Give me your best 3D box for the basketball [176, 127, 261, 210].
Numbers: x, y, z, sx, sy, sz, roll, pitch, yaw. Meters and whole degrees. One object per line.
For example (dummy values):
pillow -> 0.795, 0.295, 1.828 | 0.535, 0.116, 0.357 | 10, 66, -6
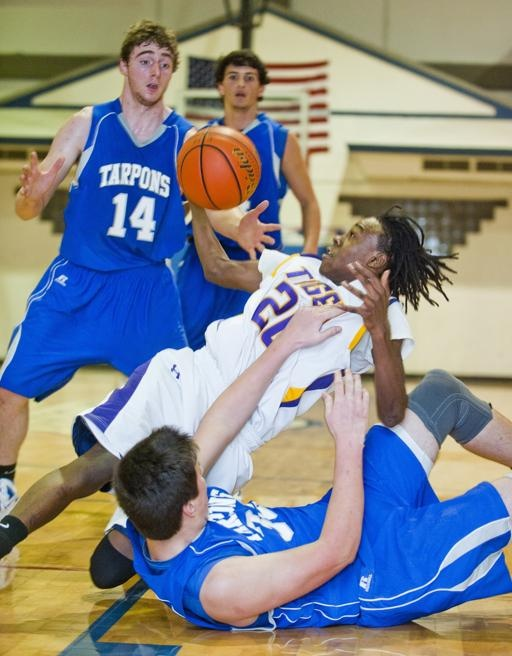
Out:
basketball -> -0.104, -0.494, 2.363 | 0.259, 0.230, 0.263 | -2, 17, 42
